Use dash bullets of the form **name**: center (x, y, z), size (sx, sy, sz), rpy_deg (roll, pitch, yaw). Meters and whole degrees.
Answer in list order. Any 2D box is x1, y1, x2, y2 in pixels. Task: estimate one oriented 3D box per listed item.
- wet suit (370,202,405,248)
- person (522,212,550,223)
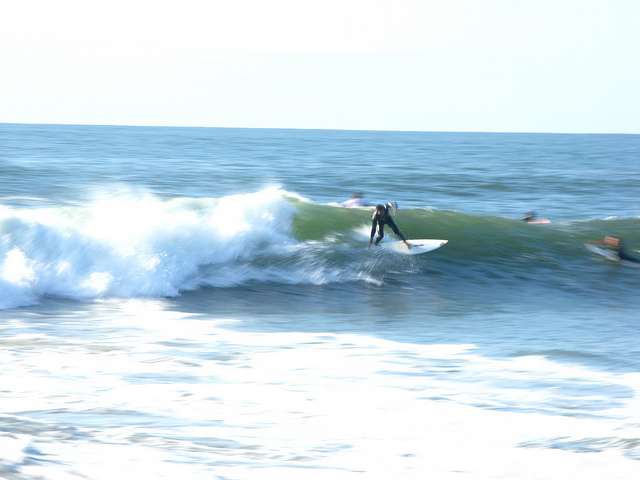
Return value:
- **wet suit**: center (1.607, -0.369, 17.074), size (0.734, 1.109, 1.262), rpy_deg (2, 6, 4)
- **person**: center (8.664, -0.929, 27.774), size (1.322, 0.251, 0.961), rpy_deg (1, 1, 14)
